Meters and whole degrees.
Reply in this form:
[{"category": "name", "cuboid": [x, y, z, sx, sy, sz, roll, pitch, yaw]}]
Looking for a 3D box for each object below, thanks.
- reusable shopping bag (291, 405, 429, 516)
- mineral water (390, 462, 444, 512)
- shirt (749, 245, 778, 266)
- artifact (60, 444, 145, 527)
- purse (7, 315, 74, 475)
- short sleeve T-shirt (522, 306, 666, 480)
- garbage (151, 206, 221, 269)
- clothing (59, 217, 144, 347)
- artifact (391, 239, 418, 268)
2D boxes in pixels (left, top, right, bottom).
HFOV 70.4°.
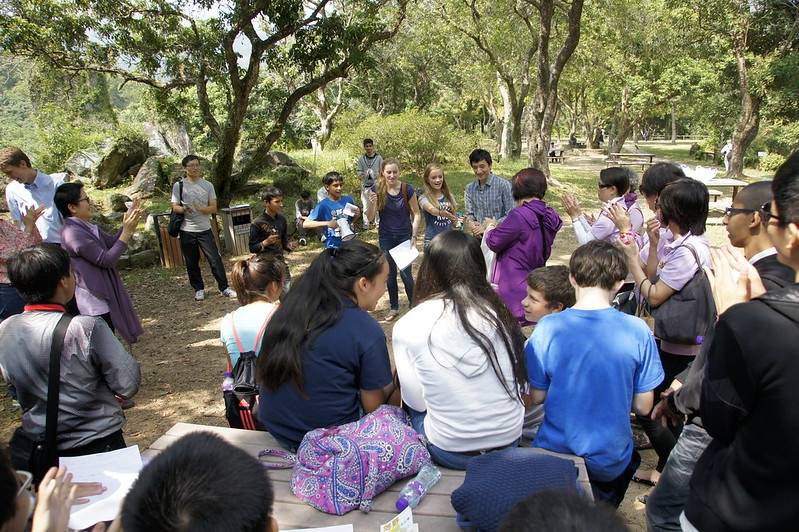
[{"category": "reusable shopping bag", "cuboid": [-0.247, 1.283, 3.924, 0.742, 0.376, 1.011, 21, 23, 34]}, {"category": "mineral water", "cuboid": [0.134, 1.460, 3.712, 0.109, 0.201, 0.387, 6, 10, 42]}, {"category": "shirt", "cuboid": [2.444, -0.065, 3.853, 0.152, 0.067, 0.179, -4, -33, -41]}, {"category": "artifact", "cuboid": [-1.918, 1.427, 3.671, 0.489, 0.333, 0.492, -5, 8, -27]}, {"category": "purse", "cuboid": [-2.466, 0.956, 4.005, 0.367, 1.210, 0.168, -5, 9, -30]}, {"category": "short sleeve T-shirt", "cuboid": [1.317, 0.862, 3.946, 0.954, 1.191, 0.499, 0, 22, 16]}, {"category": "garbage", "cuboid": [-3.596, -0.427, 9.539, 0.755, 1.054, 1.061, 2, 10, 39]}, {"category": "clothing", "cuboid": [-3.258, 0.292, 6.362, 0.692, 1.912, 0.679, -3, 23, -10]}, {"category": "artifact", "cuboid": [0.054, -0.101, 6.740, 0.290, 0.372, 0.412, -1, 8, 2]}]
